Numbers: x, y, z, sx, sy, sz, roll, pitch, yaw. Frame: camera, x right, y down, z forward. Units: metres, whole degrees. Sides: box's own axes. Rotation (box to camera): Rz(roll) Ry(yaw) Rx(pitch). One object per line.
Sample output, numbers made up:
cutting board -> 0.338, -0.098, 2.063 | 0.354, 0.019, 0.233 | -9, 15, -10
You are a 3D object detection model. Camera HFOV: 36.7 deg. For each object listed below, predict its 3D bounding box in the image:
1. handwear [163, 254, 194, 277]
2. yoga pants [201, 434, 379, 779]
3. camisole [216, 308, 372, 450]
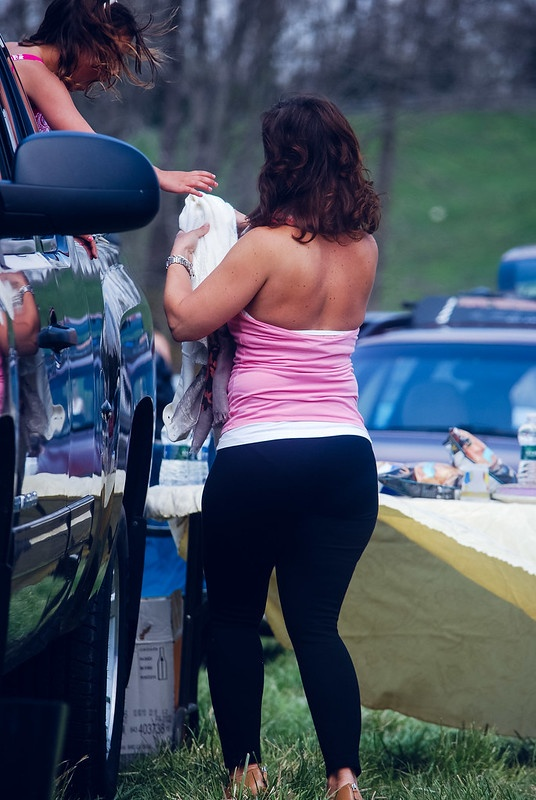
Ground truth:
handwear -> -0.237, -0.378, 2.178 | 0.076, 0.070, 0.049 | 4, 27, -14
yoga pants -> 0.031, 0.481, 1.828 | 0.370, 0.773, 0.321 | 5, 17, -5
camisole -> 0.068, -0.043, 1.996 | 0.375, 0.345, 0.229 | 4, -5, -18
